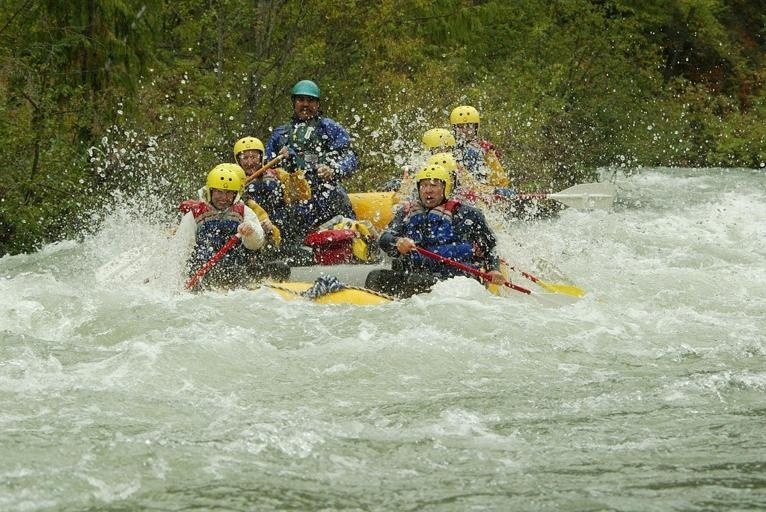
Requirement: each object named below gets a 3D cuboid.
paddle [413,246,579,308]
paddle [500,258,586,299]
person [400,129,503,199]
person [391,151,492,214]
[{"bbox_3d":[1.385,0.290,11.706,1.551,0.221,0.114,24,52,-14],"label":"paddle"},{"bbox_3d":[2.200,0.323,12.605,0.939,0.136,0.106,26,27,5],"label":"paddle"},{"bbox_3d":[0.994,-1.445,13.605,1.030,1.427,0.678,-2,85,7],"label":"person"},{"bbox_3d":[1.046,-1.064,13.298,1.266,0.927,0.482,-2,81,-35],"label":"person"}]
